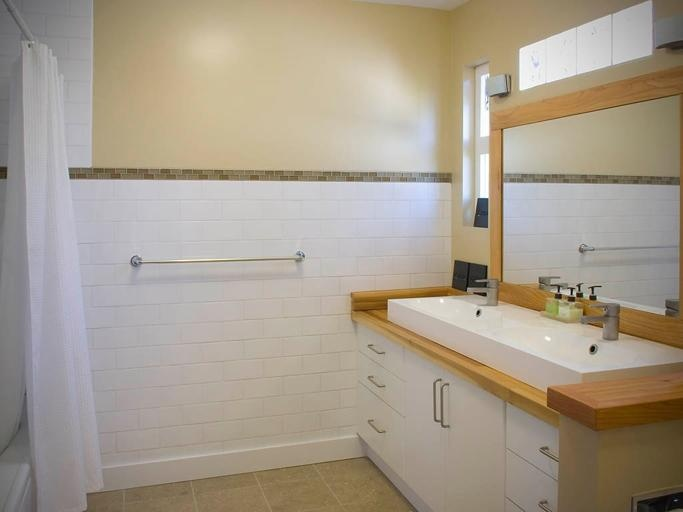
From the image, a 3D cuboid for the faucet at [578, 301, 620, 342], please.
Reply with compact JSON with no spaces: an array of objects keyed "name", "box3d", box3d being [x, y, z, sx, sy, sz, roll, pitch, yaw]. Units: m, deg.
[{"name":"faucet","box3d":[1.269,0.303,2.477,0.152,0.168,0.169,7,12,39]}]
